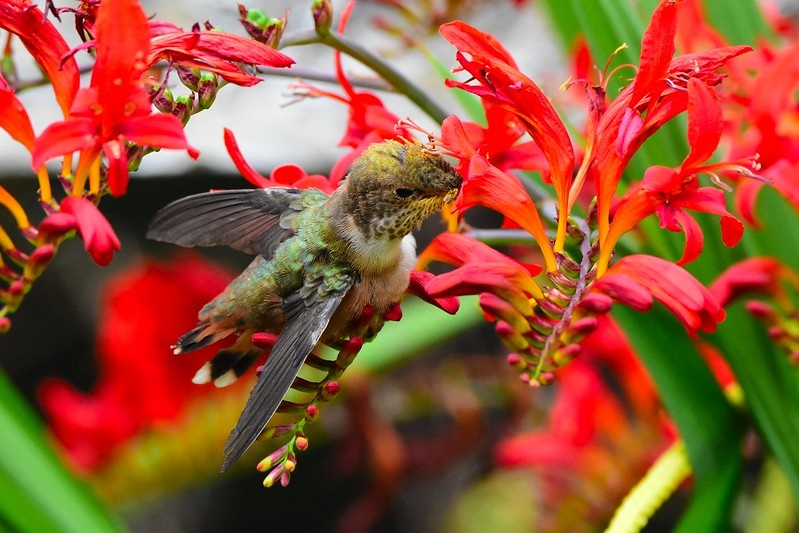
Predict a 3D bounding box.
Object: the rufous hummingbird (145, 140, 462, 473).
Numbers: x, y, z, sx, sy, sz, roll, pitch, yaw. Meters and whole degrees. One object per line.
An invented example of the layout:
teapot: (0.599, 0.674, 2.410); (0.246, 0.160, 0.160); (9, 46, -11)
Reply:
rufous hummingbird: (-0.048, 0.093, 1.190); (0.450, 0.493, 0.233); (-3, -43, 11)
